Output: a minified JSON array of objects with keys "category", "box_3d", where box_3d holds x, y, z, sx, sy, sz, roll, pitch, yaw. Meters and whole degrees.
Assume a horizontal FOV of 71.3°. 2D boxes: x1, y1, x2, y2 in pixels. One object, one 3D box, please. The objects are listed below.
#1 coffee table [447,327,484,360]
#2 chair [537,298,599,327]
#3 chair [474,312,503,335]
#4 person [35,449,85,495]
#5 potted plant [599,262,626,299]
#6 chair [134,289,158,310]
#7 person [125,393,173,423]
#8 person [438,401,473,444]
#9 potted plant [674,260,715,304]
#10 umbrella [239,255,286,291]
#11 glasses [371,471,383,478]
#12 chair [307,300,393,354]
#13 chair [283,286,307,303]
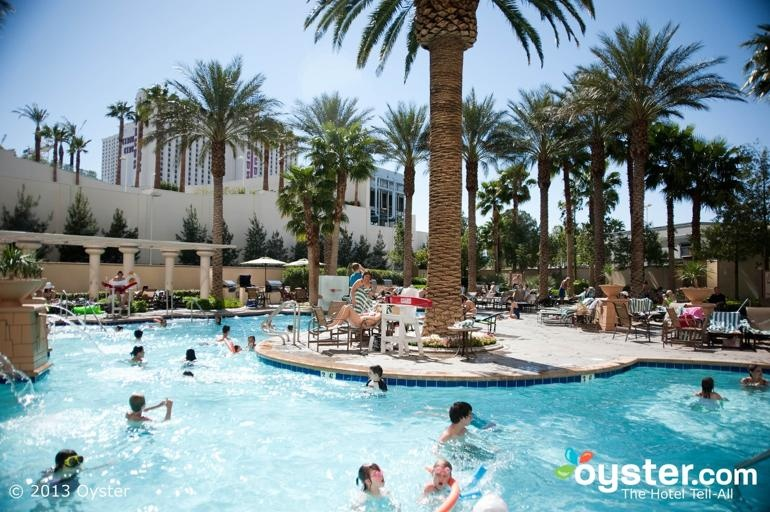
[{"category":"coffee table","box_3d":[2.130,2.405,14.880,0.754,0.722,0.819,-1,-4,20]},{"category":"chair","box_3d":[7.568,2.202,21.915,2.379,1.426,1.509,7,12,34]},{"category":"chair","box_3d":[3.751,2.477,19.449,0.834,1.010,0.848,-5,-12,33]},{"category":"person","box_3d":[-5.585,3.770,9.270,0.698,0.316,0.542,-8,31,-33]},{"category":"potted plant","box_3d":[12.801,1.350,30.306,1.825,2.171,1.808,-1,-1,14]},{"category":"chair","box_3d":[-11.621,2.149,25.874,0.892,0.455,1.205,1,4,-21]},{"category":"person","box_3d":[-4.888,3.233,11.246,0.570,0.584,0.792,15,7,22]},{"category":"person","box_3d":[1.368,3.200,10.321,0.630,0.813,0.797,-2,-1,2]},{"category":"potted plant","box_3d":[15.998,1.318,27.673,2.106,2.644,2.169,-1,-2,8]},{"category":"umbrella","box_3d":[-8.145,1.341,35.804,2.548,1.726,2.434,1,7,-4]},{"category":"glasses","box_3d":[-0.141,3.668,8.997,0.113,0.087,0.154,7,-15,-31]},{"category":"chair","box_3d":[-1.070,1.889,15.450,2.040,1.425,0.947,6,-7,-15]},{"category":"chair","box_3d":[-5.080,2.273,30.232,1.236,1.501,1.074,0,-2,11]}]
